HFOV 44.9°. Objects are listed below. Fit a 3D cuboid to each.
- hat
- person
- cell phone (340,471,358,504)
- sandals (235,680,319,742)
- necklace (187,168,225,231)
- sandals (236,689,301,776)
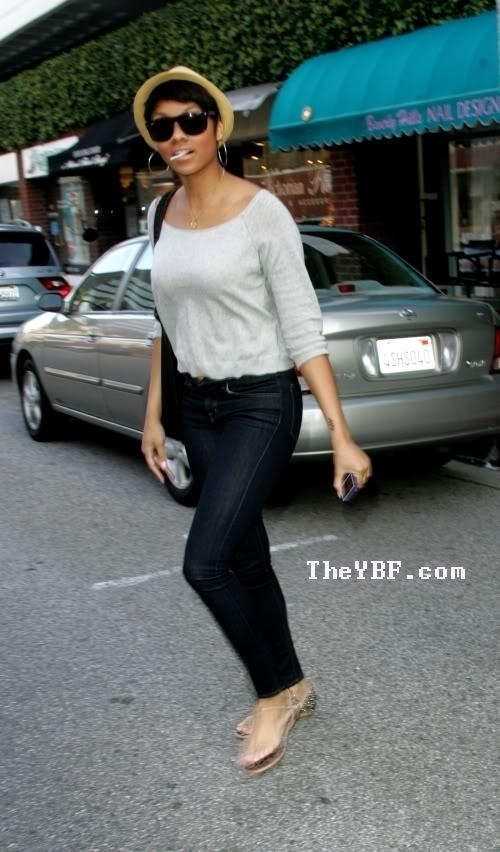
[{"bbox_3d":[-0.147,-0.818,1.529,0.230,0.262,0.076,2,34,7],"label":"hat"},{"bbox_3d":[-0.013,0.005,1.445,0.434,1.715,0.488,-1,-4,-23],"label":"person"},{"bbox_3d":[0.214,0.130,1.298,0.015,0.060,0.062,10,-24,-2],"label":"cell phone"},{"bbox_3d":[0.105,0.789,1.746,0.110,0.118,0.300,-10,-3,39],"label":"sandals"},{"bbox_3d":[-0.096,-0.517,1.370,0.091,0.173,0.078,-1,-4,-13],"label":"necklace"},{"bbox_3d":[0.044,0.778,1.626,0.095,0.103,0.259,-15,26,45],"label":"sandals"}]
